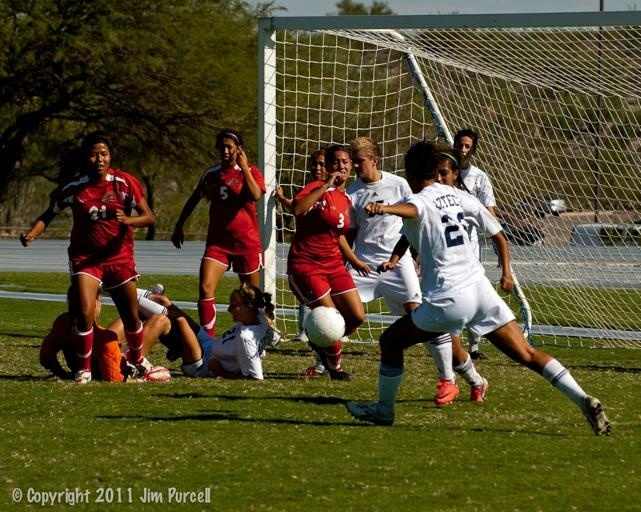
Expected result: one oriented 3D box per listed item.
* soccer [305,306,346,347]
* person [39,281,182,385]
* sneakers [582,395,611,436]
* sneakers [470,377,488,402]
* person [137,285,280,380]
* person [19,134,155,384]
[{"bbox_3d":[0.032,0.658,10.588,0.382,0.369,0.439,-8,-35,18],"label":"soccer"},{"bbox_3d":[-2.231,0.832,10.988,0.980,0.907,1.604,-12,-15,36],"label":"person"},{"bbox_3d":[2.430,1.379,8.904,0.168,0.407,0.182,-29,3,-12],"label":"sneakers"},{"bbox_3d":[1.611,1.373,10.228,0.107,0.307,0.143,9,11,36],"label":"sneakers"},{"bbox_3d":[-1.285,0.760,10.944,1.891,1.038,0.945,5,15,18],"label":"person"},{"bbox_3d":[-2.203,0.025,10.400,0.917,2.561,0.638,-2,13,-14],"label":"person"}]
